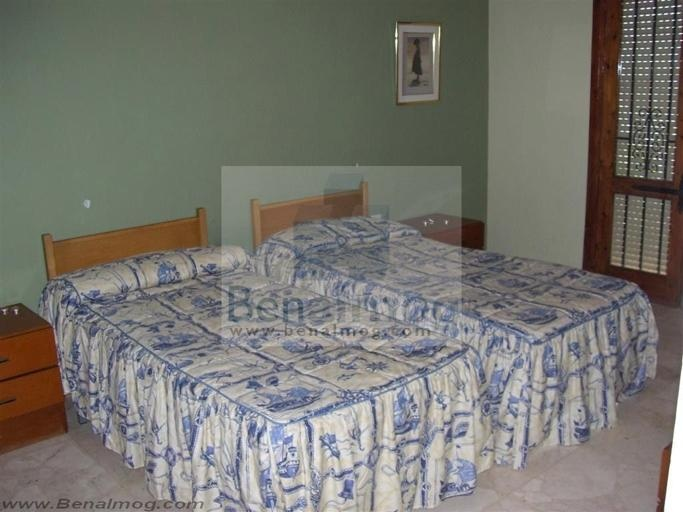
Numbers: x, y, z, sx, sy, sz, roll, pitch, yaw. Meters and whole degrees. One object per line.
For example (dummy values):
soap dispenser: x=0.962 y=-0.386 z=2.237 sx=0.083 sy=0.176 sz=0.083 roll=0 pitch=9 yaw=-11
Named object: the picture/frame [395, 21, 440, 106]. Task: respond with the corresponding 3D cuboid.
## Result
picture/frame: x=0.716 y=-1.896 z=5.103 sx=0.776 sy=0.893 sz=0.041 roll=-9 pitch=12 yaw=-40
